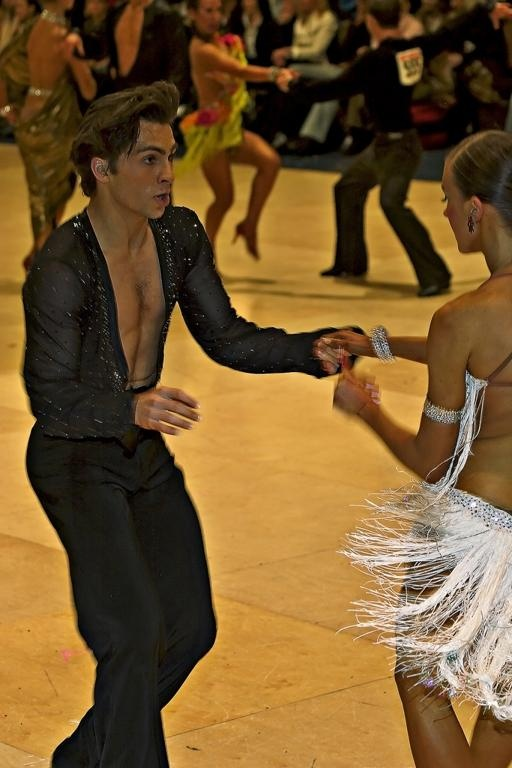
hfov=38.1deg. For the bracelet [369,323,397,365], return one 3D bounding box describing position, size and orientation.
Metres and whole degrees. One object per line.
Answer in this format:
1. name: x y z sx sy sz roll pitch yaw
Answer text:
1. bracelet: 0.317 -0.109 1.841 0.071 0.077 0.031 -7 -6 35
